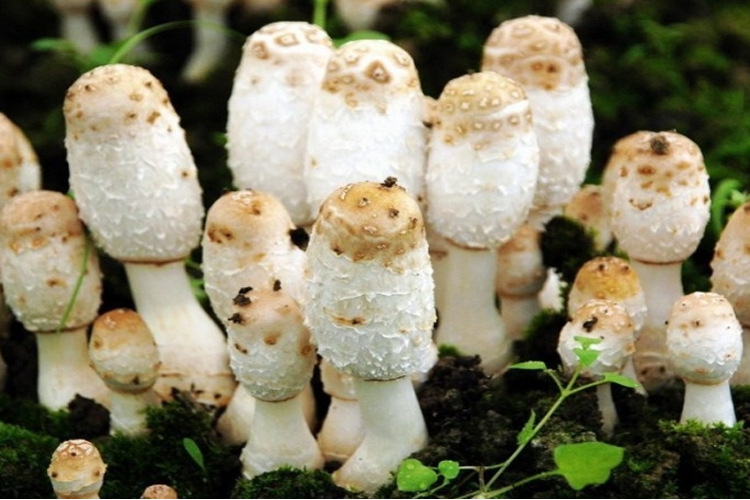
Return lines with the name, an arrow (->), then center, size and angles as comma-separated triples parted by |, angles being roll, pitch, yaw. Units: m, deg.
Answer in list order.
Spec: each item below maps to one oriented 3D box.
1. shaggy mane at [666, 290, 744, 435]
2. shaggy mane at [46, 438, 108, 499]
shaggy mane -> 1.410, 0.492, 4.559 | 0.391, 0.502, 0.440 | 12, 51, 5
shaggy mane -> -1.239, 0.921, 4.399 | 0.267, 0.272, 0.246 | -15, 66, 38
